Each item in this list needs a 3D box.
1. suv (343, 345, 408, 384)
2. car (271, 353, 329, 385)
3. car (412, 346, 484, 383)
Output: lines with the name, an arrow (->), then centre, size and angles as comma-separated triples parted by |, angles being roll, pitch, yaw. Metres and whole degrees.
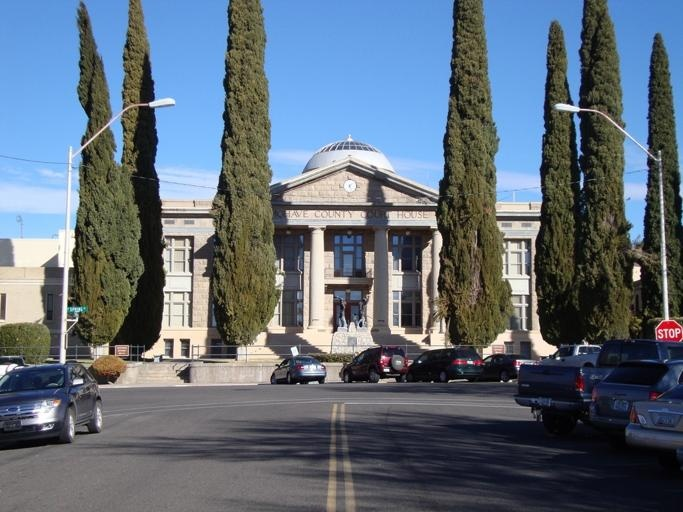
suv -> 1.681, 5.846, 45.295 | 1.844, 2.113, 4.792 | 1, -3, -32
car -> -2.184, 6.036, 43.789 | 2.091, 1.819, 2.662 | -4, -8, 15
car -> 5.552, 5.714, 43.581 | 3.214, 1.969, 3.536 | -5, -8, 26
